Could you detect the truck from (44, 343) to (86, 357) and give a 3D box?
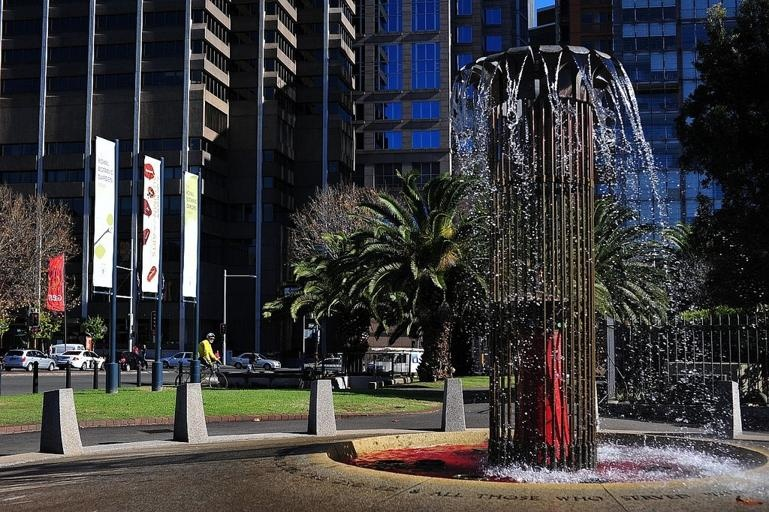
[{"bbox_3d":[-23.915,6.923,74.765,2.083,1.077,1.537,-2,-3,7],"label":"truck"}]

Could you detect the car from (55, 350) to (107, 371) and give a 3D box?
[{"bbox_3d":[-21.961,7.399,72.009,2.634,1.592,4.019,-3,-9,14],"label":"car"}]

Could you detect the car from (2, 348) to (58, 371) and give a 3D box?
[{"bbox_3d":[-24.022,6.963,67.761,3.086,1.522,2.650,3,-9,-25],"label":"car"}]

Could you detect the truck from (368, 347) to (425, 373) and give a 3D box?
[{"bbox_3d":[0.710,6.468,62.284,3.114,0.766,3.172,-2,-3,14],"label":"truck"}]

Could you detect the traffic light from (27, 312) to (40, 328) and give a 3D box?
[{"bbox_3d":[-22.650,4.019,64.810,0.509,0.972,1.583,4,-9,-26],"label":"traffic light"}]
